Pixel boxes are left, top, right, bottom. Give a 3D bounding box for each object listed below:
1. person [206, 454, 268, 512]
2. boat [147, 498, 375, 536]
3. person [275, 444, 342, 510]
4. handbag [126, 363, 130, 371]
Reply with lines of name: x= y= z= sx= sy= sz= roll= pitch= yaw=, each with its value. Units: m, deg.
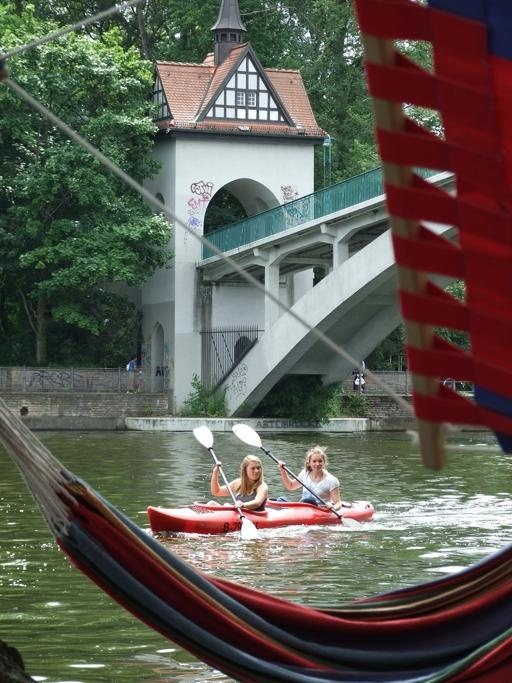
person: x=-0.243 y=1.749 z=14.776 sx=0.723 sy=0.893 sz=0.546 roll=-4 pitch=-36 yaw=-5
boat: x=0.116 y=1.835 z=12.739 sx=2.346 sy=0.359 sz=0.737 roll=0 pitch=-8 yaw=-26
person: x=0.616 y=1.677 z=13.541 sx=0.713 sy=0.922 sz=0.539 roll=4 pitch=9 yaw=16
handbag: x=-3.784 y=0.819 z=35.990 sx=0.171 sy=0.270 sz=0.082 roll=5 pitch=15 yaw=16
